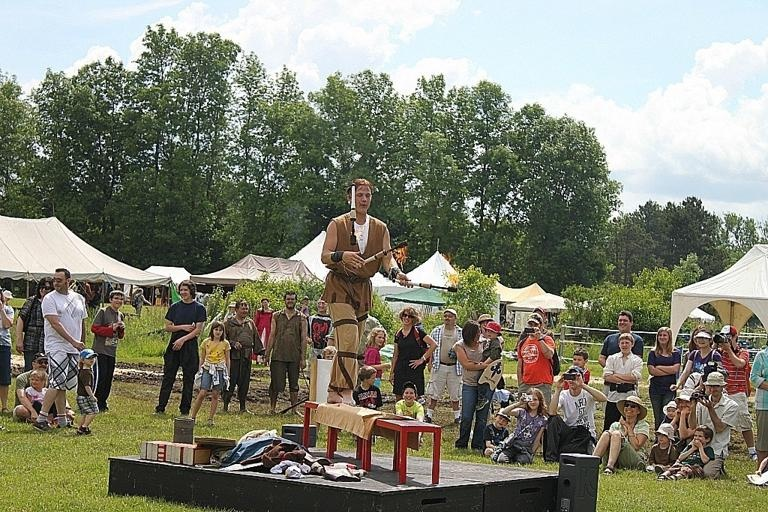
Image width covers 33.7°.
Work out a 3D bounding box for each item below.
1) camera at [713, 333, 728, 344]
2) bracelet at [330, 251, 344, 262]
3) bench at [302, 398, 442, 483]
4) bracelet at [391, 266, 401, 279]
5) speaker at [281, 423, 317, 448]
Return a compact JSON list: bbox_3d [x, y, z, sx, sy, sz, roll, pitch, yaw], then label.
[{"bbox_3d":[9.674,2.374,36.120,0.233,0.175,0.393,-2,-6,37],"label":"camera"},{"bbox_3d":[-1.119,0.033,31.160,0.338,0.261,0.150,2,-4,32],"label":"bracelet"},{"bbox_3d":[-0.327,4.540,30.683,3.564,1.750,0.914,2,-4,23],"label":"bench"},{"bbox_3d":[0.289,0.422,31.122,0.242,0.313,0.509,5,-4,-10],"label":"bracelet"},{"bbox_3d":[-2.192,4.520,32.130,0.677,0.617,0.664,3,-5,-31],"label":"speaker"}]
